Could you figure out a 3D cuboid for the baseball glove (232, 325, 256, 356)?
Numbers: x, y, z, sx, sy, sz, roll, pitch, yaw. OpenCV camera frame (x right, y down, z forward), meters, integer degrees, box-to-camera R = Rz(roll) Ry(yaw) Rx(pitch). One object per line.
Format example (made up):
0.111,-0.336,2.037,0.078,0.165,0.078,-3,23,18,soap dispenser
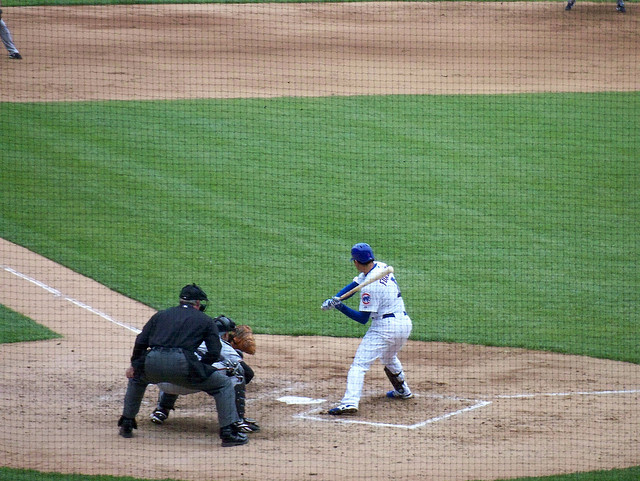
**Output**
-1.463,1.919,27.355,0.584,0.471,0.592,6,8,1,baseball glove

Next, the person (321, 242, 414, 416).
1.052,1.749,27.206,1.731,3.396,0.797,1,6,-7,person

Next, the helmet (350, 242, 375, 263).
0.859,0.220,27.418,0.423,0.364,0.650,1,4,2,helmet
